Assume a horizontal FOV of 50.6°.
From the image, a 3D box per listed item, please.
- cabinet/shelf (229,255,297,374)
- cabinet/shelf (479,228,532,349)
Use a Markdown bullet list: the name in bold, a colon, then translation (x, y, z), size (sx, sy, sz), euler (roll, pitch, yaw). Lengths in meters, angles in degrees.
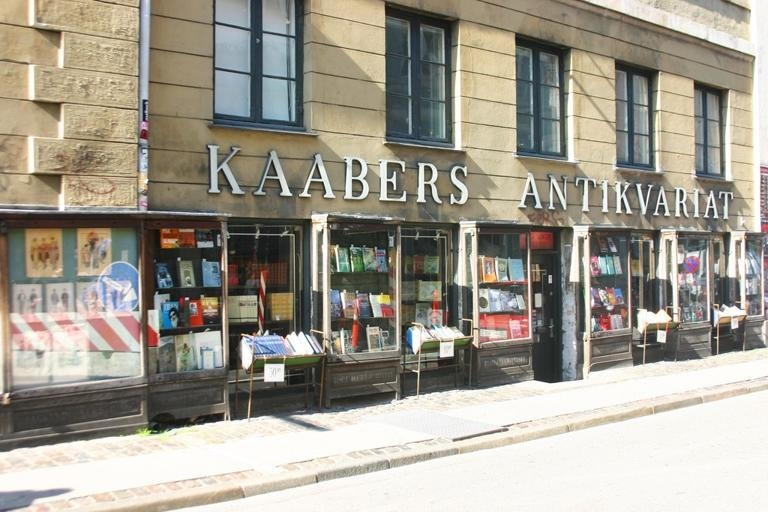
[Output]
- **cabinet/shelf**: translation (-2.480, 0.694, 16.167), size (1.180, 1.462, 0.946), euler (2, -6, -31)
- **cabinet/shelf**: translation (2.656, 0.629, 18.003), size (1.385, 2.413, 0.508), euler (-4, 11, -29)
